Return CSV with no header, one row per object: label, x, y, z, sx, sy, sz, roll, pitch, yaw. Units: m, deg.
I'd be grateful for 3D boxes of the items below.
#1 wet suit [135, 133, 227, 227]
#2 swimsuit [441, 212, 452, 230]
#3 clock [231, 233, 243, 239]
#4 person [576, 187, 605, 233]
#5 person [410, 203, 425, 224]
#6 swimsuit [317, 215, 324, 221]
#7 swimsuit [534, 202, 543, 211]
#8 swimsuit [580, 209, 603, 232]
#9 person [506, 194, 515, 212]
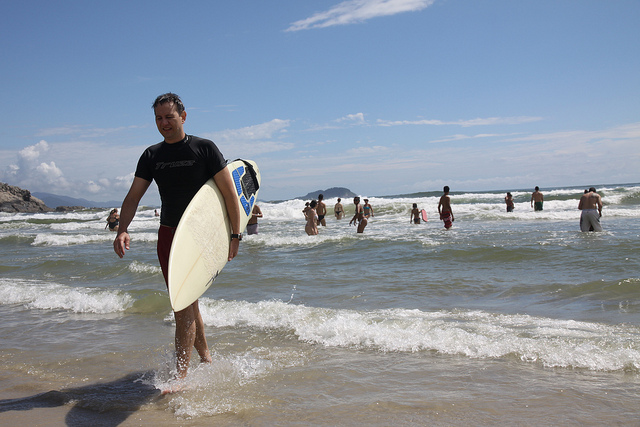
wet suit,-1.439,-0.336,5.040,0.945,0.925,0.313,-4,13,-9
swimsuit,4.451,0.257,16.996,0.302,0.613,0.407,2,13,18
clock,-0.889,0.238,5.227,0.083,0.050,0.088,-1,1,16
person,8.355,-0.014,14.845,0.753,1.428,1.834,4,14,29
person,4.122,0.014,20.755,0.436,0.866,1.520,0,12,13
swimsuit,0.057,0.205,19.364,0.259,0.286,0.303,-2,12,2
swimsuit,11.419,-0.342,25.204,0.490,0.582,0.373,0,-9,31
swimsuit,8.210,0.235,14.620,0.698,0.699,0.447,3,15,30
person,10.128,-0.525,25.751,0.324,0.957,0.712,2,13,21
